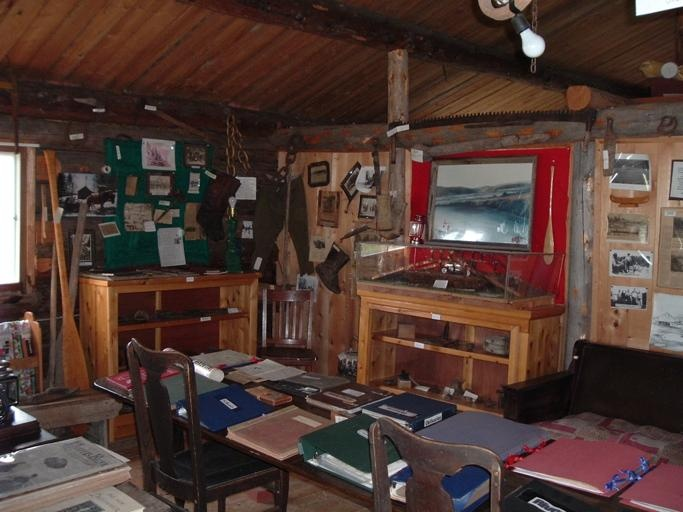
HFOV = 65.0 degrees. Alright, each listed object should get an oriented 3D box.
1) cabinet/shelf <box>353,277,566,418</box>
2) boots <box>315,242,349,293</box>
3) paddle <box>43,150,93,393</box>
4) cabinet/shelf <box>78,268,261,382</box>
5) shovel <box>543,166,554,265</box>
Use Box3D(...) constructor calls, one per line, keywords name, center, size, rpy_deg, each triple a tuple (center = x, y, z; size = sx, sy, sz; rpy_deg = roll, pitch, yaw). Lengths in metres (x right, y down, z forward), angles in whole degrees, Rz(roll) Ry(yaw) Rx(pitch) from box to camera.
Box3D(name="cabinet/shelf", center=(0.915, 0.652, 3.901), size=(0.398, 0.807, 1.098), rpy_deg=(-2, 3, -45))
Box3D(name="boots", center=(-0.088, 0.080, 5.594), size=(0.217, 0.405, 0.437), rpy_deg=(-1, 28, -35))
Box3D(name="paddle", center=(-2.277, 0.100, 4.426), size=(0.258, 1.954, 0.562), rpy_deg=(-3, 6, -26))
Box3D(name="cabinet/shelf", center=(-1.548, 0.680, 4.936), size=(1.360, 0.999, 0.442), rpy_deg=(0, 3, -43))
Box3D(name="shovel", center=(1.621, -0.313, 4.170), size=(0.038, 0.815, 0.106), rpy_deg=(-2, 3, -23))
